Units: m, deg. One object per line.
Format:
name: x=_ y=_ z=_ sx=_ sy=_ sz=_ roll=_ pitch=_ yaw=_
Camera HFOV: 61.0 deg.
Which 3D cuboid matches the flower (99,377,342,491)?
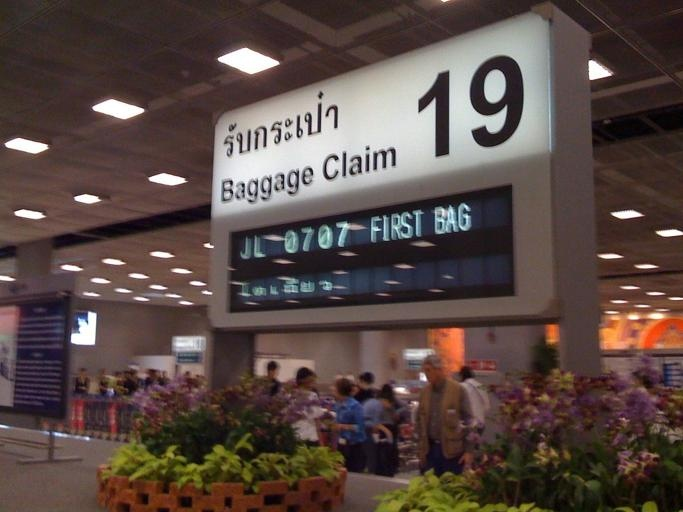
flower: x=-1.044 y=1.638 z=5.094 sx=1.913 sy=0.979 sz=2.155 roll=-8 pitch=-24 yaw=17
